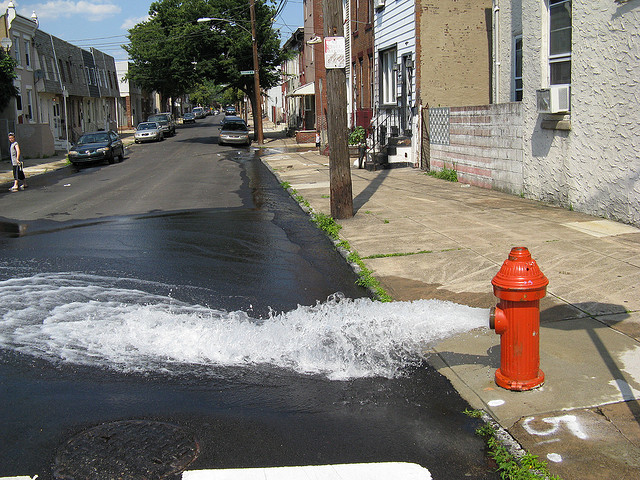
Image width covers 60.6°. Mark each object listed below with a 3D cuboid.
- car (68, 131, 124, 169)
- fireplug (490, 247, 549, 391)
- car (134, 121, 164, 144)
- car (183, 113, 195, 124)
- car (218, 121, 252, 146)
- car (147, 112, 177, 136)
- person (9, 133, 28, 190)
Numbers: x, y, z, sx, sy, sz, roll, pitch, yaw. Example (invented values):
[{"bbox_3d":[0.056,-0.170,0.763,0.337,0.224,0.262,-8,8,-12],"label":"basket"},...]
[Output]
[{"bbox_3d":[-12.339,-5.098,30.132,1.890,1.745,3.997,-3,14,-4],"label":"car"},{"bbox_3d":[1.790,0.703,4.924,0.477,1.224,0.372,6,15,31],"label":"fireplug"},{"bbox_3d":[-14.753,-9.299,47.027,2.123,1.650,2.311,-5,14,-13],"label":"car"},{"bbox_3d":[-21.243,-19.871,88.686,1.365,1.290,2.454,-3,8,-7],"label":"car"},{"bbox_3d":[-6.268,-7.720,39.719,2.109,1.635,2.122,-6,14,-17],"label":"car"},{"bbox_3d":[-15.623,-11.504,53.900,2.025,1.957,4.499,-2,11,-5],"label":"car"},{"bbox_3d":[-11.591,-3.007,20.822,0.568,2.051,1.257,-9,15,-28],"label":"person"}]
